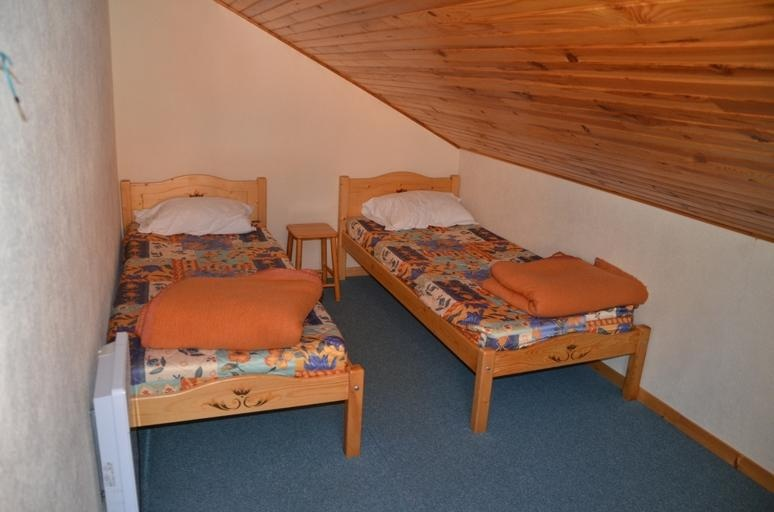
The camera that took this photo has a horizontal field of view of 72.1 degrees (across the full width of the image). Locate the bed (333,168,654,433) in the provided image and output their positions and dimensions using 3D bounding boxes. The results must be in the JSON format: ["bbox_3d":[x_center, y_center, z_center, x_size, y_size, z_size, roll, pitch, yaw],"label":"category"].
[{"bbox_3d":[0.631,0.094,4.150,1.350,1.049,2.356,-5,26,-26],"label":"bed"}]

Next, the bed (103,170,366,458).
[{"bbox_3d":[-1.102,0.193,3.437,1.284,0.873,2.097,-3,27,-21],"label":"bed"}]
